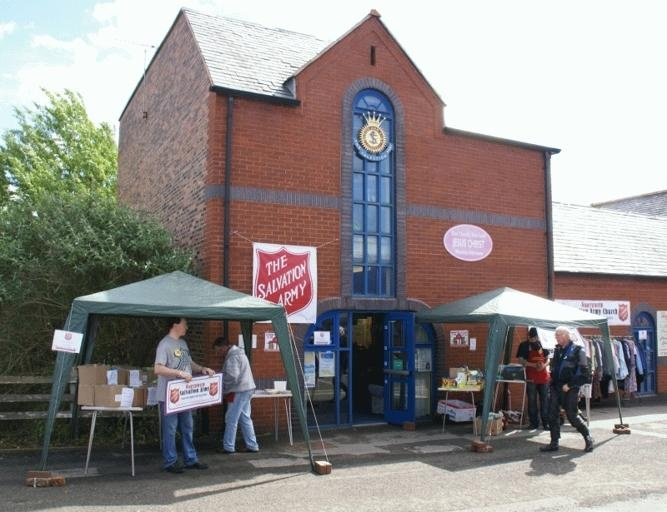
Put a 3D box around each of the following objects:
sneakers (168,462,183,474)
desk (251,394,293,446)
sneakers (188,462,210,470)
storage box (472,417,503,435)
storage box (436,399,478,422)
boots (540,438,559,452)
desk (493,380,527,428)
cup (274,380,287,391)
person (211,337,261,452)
[{"bbox_3d":[-2.815,3.797,11.630,0.316,0.147,0.123,-3,-4,22],"label":"sneakers"},{"bbox_3d":[-1.249,3.551,14.276,0.992,1.075,1.045,4,-17,-18],"label":"desk"},{"bbox_3d":[-2.459,3.838,11.907,0.361,0.178,0.142,0,-4,-3],"label":"sneakers"},{"bbox_3d":[3.545,3.900,14.926,0.469,0.476,0.509,-1,-4,7],"label":"storage box"},{"bbox_3d":[3.006,3.832,16.144,0.561,0.287,0.684,4,-6,-29],"label":"storage box"},{"bbox_3d":[4.406,3.927,13.457,0.446,0.353,0.180,1,-6,6],"label":"boots"},{"bbox_3d":[4.366,3.730,16.280,0.632,1.283,1.196,-9,-14,43],"label":"desk"},{"bbox_3d":[-1.172,2.873,14.359,0.309,0.327,0.170,0,-1,-5],"label":"cup"},{"bbox_3d":[-1.888,2.780,12.786,0.945,2.131,0.564,5,9,-3],"label":"person"}]
